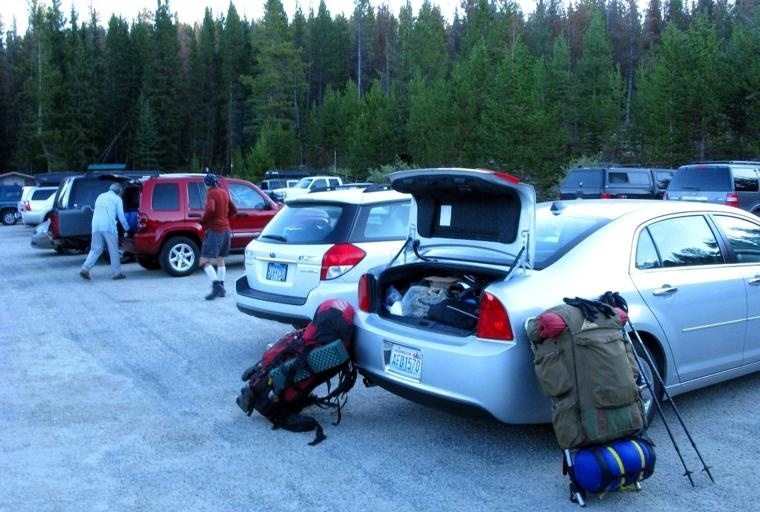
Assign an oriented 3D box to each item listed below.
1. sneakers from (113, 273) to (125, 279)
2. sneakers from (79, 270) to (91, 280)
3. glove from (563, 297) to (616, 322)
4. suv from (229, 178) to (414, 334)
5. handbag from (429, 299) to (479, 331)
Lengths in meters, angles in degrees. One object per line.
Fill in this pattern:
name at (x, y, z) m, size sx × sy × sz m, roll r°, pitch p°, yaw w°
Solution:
sneakers at (-6.308, 0.488, 13.464) m, size 0.305 × 0.142 × 0.134 m, roll -6°, pitch 15°, yaw -20°
sneakers at (-7.114, 0.458, 13.463) m, size 0.215 × 0.096 × 0.120 m, roll 45°, pitch -13°, yaw -6°
glove at (1.734, 0.427, 4.605) m, size 0.223 × 0.080 × 0.231 m, roll 6°, pitch 14°, yaw -4°
suv at (-0.585, -0.108, 7.784) m, size 1.440 × 1.201 × 2.569 m, roll 5°, pitch 19°, yaw 41°
handbag at (0.693, 0.544, 5.281) m, size 0.369 × 0.228 × 0.151 m, roll 13°, pitch -32°, yaw 27°
